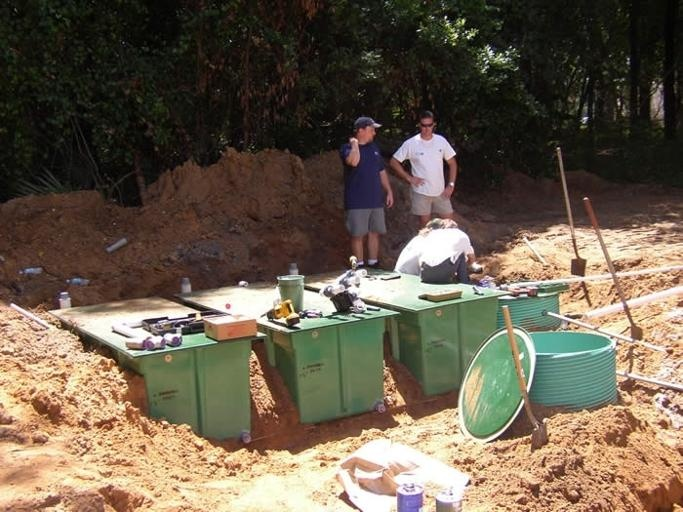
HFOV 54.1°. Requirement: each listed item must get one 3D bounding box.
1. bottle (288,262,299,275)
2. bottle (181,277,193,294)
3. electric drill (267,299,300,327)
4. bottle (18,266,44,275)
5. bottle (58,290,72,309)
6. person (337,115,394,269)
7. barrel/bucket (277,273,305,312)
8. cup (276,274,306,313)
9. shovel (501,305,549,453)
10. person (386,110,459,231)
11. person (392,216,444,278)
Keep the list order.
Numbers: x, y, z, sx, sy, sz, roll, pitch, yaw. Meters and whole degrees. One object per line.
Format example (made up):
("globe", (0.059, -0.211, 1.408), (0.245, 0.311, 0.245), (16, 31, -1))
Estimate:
("bottle", (-0.689, 0.167, 9.346), (0.163, 0.273, 0.150), (0, 0, 0))
("bottle", (-2.023, 0.382, 8.684), (0.152, 0.305, 0.145), (0, 3, 0))
("electric drill", (-0.603, 0.585, 6.910), (0.177, 0.248, 0.413), (-9, 6, -41))
("bottle", (-4.529, 0.213, 9.729), (0.306, 0.106, 0.150), (-7, 5, -17))
("bottle", (-3.440, 0.547, 8.281), (0.156, 0.260, 0.179), (-2, 6, -8))
("person", (0.369, -0.921, 9.805), (0.735, 2.204, 0.346), (-7, 6, -26))
("barrel/bucket", (-0.487, 0.393, 7.188), (0.298, 0.497, 0.325), (-3, 5, 0))
("cup", (-0.496, 0.397, 7.199), (0.297, 0.497, 0.326), (-3, 4, 0))
("shovel", (1.754, 1.076, 6.349), (0.340, 1.305, 0.723), (-3, 5, 16))
("person", (1.301, -1.159, 10.489), (0.887, 2.313, 0.496), (-2, 34, 8))
("person", (1.054, -0.115, 9.288), (0.282, 0.265, 0.904), (-16, -20, -31))
